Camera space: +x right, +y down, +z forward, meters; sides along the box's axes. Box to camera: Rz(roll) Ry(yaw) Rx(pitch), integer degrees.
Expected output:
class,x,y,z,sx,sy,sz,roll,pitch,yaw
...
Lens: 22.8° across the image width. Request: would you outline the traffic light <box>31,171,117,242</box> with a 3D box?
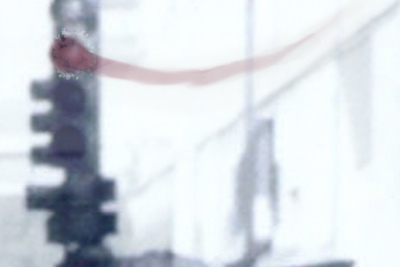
class,x,y,z,sx,sy,sz,roll,pitch,yaw
traffic light,-0.578,0.329,4.373,0.353,0.311,0.081,1,0,-1
